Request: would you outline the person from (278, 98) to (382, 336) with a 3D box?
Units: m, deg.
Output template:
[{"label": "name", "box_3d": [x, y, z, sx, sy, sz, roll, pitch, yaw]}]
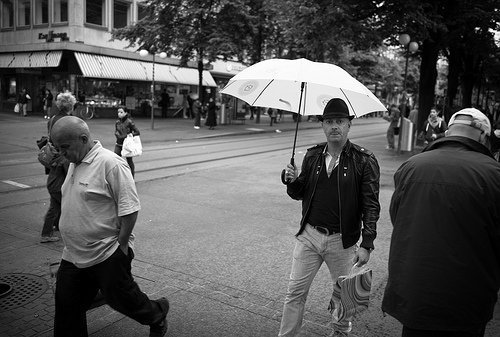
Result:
[{"label": "person", "box_3d": [0.863, 0.518, 4.993, 0.991, 2.503, 0.677, 3, 7, 11]}]

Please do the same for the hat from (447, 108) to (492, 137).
[{"label": "hat", "box_3d": [2.078, -0.439, 4.469, 0.359, 0.293, 0.350, 0, -3, 31]}]

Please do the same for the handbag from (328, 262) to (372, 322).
[{"label": "handbag", "box_3d": [1.032, 1.181, 4.737, 0.411, 0.581, 0.181, -8, 20, -28]}]

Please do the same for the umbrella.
[{"label": "umbrella", "box_3d": [0.522, -0.362, 5.777, 1.506, 1.075, 1.554, 14, -8, 8]}]

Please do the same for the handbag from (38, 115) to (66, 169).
[{"label": "handbag", "box_3d": [-3.175, -0.422, 7.629, 0.407, 0.602, 0.610, 5, 18, -17]}]

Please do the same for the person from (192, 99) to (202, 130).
[{"label": "person", "box_3d": [-3.022, -3.163, 27.154, 0.455, 1.708, 0.994, 1, 7, -8]}]

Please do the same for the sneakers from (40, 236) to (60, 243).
[{"label": "sneakers", "box_3d": [-3.170, 1.135, 7.505, 0.298, 0.137, 0.113, -1, 9, -19]}]

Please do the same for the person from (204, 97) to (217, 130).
[{"label": "person", "box_3d": [-2.273, -3.228, 27.630, 0.597, 1.772, 1.592, 1, 8, -6]}]
